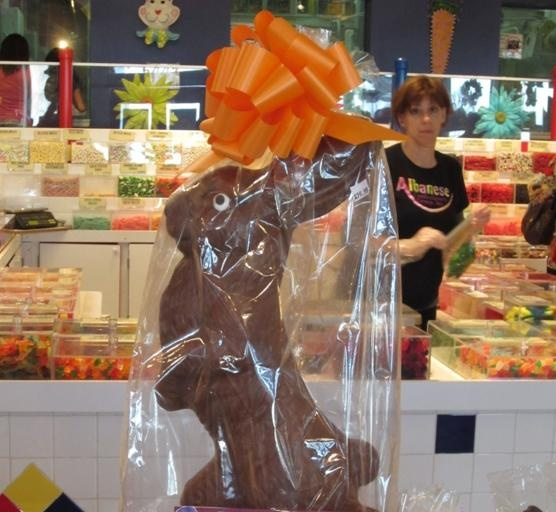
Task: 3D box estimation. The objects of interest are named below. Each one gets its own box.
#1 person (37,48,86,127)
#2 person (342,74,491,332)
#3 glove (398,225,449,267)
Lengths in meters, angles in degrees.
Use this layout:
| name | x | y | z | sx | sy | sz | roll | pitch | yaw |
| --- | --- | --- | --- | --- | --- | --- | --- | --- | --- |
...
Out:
| name | x | y | z | sx | sy | sz | roll | pitch | yaw |
| --- | --- | --- | --- | --- | --- | --- | --- | --- | --- |
| person | -1.660 | -1.254 | 4.511 | 0.340 | 0.590 | 0.820 | -7 | 9 | -17 |
| person | 0.545 | -0.184 | 2.101 | 0.309 | 0.918 | 1.085 | -3 | 9 | 13 |
| glove | 0.380 | -0.025 | 1.534 | 0.110 | 0.097 | 0.232 | -2 | 9 | 16 |
